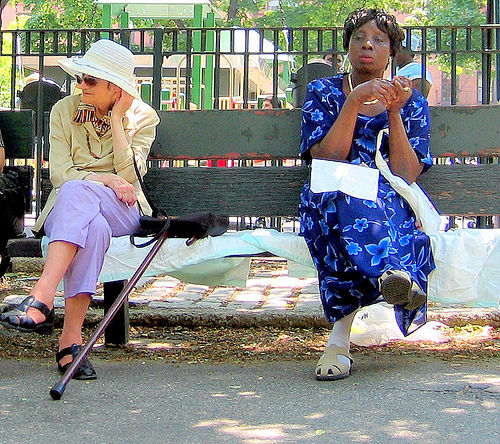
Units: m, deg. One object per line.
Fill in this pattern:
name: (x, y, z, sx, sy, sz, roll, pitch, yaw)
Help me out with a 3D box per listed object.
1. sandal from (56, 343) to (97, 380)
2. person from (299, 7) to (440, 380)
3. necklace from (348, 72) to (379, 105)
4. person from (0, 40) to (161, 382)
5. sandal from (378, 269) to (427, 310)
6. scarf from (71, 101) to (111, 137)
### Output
sandal: (-0.874, 0.644, 4.278, 0.138, 0.119, 0.387, -8, 17, -32)
person: (0.576, -0.183, 4.349, 0.688, 1.788, 0.897, 0, 7, 3)
necklace: (0.550, -0.676, 4.568, 0.047, 0.162, 0.183, -32, 2, -16)
person: (-0.774, -0.112, 4.323, 0.610, 1.587, 0.957, -1, 7, -4)
sandal: (0.675, 0.312, 4.059, 0.225, 0.140, 0.092, 48, -6, -37)
scarf: (-0.844, -0.532, 4.622, 0.197, 0.176, 0.060, -1, 8, -11)
